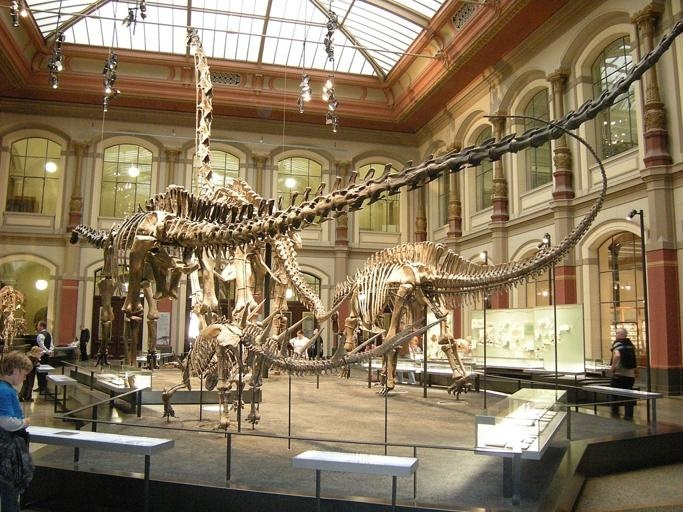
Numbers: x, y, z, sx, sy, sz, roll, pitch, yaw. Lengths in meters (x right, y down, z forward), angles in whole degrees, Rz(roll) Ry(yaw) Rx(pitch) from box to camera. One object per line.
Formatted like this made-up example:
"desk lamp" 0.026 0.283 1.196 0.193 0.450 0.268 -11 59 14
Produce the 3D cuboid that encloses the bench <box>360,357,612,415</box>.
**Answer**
"bench" 3.634 2.722 12.491 2.189 0.613 4.874 7 -10 -33

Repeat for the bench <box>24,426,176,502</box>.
"bench" -2.768 2.439 6.639 1.631 0.777 0.425 0 -9 12

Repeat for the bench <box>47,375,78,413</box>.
"bench" -5.223 2.569 10.843 0.366 0.546 1.182 1 -2 -24

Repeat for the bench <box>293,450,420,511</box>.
"bench" 0.184 2.442 6.335 1.271 0.604 0.961 0 -9 9
